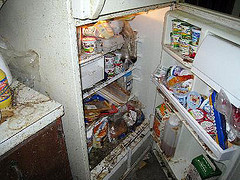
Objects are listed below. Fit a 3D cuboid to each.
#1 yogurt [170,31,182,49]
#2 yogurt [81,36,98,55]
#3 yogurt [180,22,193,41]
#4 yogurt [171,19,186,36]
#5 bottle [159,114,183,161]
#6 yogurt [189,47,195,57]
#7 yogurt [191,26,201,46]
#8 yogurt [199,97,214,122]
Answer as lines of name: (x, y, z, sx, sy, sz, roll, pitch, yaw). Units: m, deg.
yogurt: (0.395, -0.364, 1.402, 0.095, 0.100, 0.099, 13, 47, 24)
yogurt: (-0.206, -0.314, 1.319, 0.111, 0.114, 0.134, 24, 42, 28)
yogurt: (0.457, -0.401, 1.307, 0.073, 0.115, 0.048, -24, 36, -37)
yogurt: (0.401, -0.442, 1.362, 0.105, 0.105, 0.107, 25, 46, 31)
bottle: (0.499, 0.457, 1.810, 0.148, 0.570, 0.147, -4, 41, 3)
yogurt: (0.482, -0.256, 1.265, 0.027, 0.063, 0.050, -10, 34, -24)
yogurt: (0.497, -0.359, 1.254, 0.062, 0.104, 0.107, 14, 32, 15)
yogurt: (0.582, 0.131, 1.252, 0.034, 0.070, 0.117, 16, 44, -40)
